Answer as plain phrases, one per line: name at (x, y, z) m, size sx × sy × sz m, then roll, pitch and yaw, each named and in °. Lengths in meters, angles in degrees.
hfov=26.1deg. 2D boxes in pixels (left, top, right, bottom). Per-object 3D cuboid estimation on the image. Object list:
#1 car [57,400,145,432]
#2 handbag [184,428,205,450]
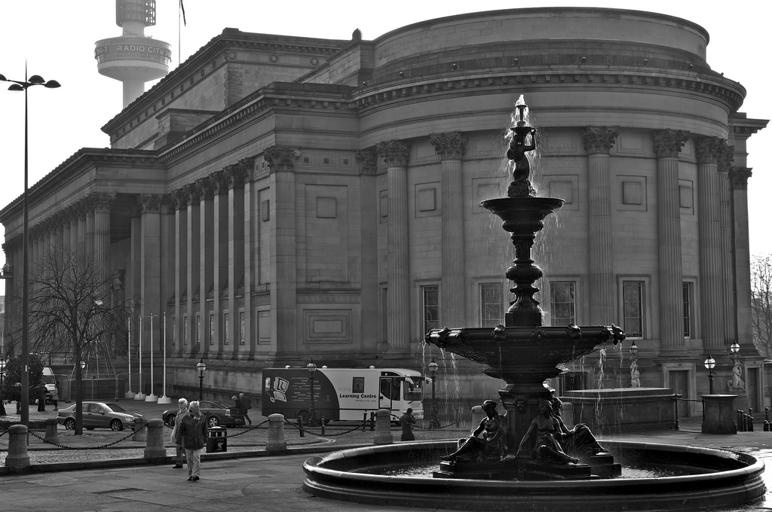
car at (-17.767, 9.725, 101.270) m, size 6.288 × 1.776 × 2.547 m, roll -4°, pitch -6°, yaw 21°
handbag at (-8.675, 8.223, 75.277) m, size 0.943 × 0.937 × 0.433 m, roll 2°, pitch -13°, yaw -12°
